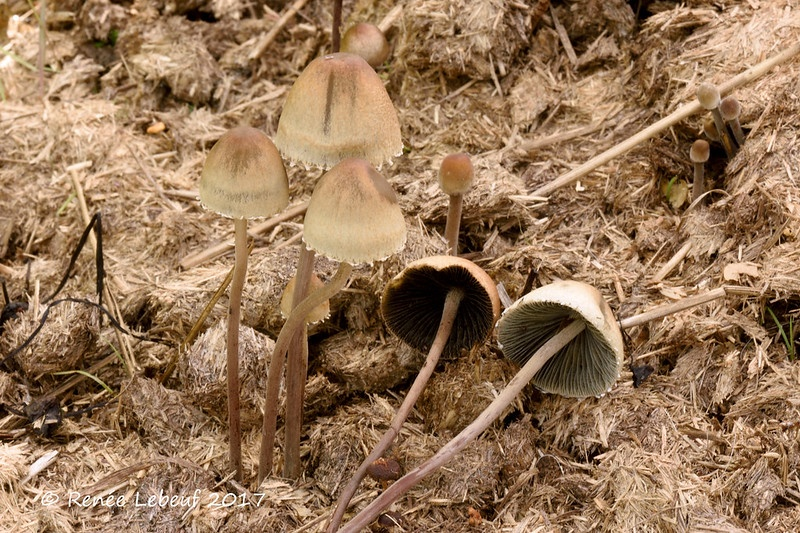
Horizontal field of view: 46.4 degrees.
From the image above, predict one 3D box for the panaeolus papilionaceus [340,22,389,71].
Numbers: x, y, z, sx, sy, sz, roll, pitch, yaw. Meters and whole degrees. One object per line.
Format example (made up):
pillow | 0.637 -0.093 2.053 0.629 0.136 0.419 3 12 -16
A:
panaeolus papilionaceus | -0.268 -1.673 7.215 0.349 0.371 0.444 -5 88 1
